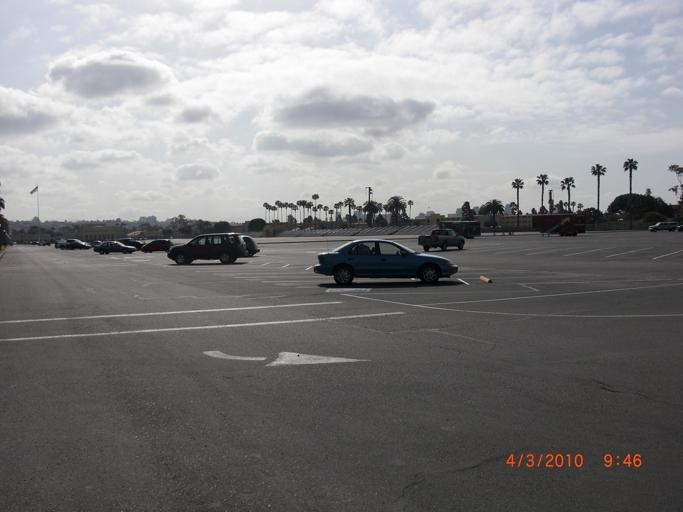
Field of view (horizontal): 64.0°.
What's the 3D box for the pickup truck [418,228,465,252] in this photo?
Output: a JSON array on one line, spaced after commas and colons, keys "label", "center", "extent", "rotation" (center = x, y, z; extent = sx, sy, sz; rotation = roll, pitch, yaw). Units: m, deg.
[{"label": "pickup truck", "center": [8.134, -1.368, 45.513], "extent": [3.580, 1.406, 1.873], "rotation": [-6, 7, -37]}]
